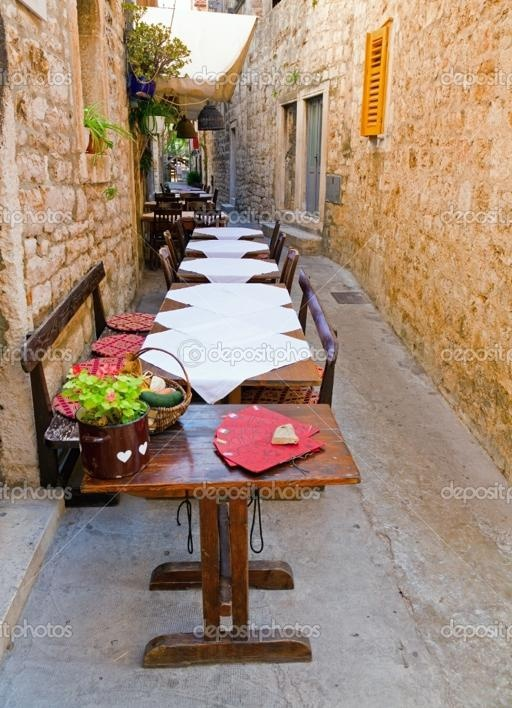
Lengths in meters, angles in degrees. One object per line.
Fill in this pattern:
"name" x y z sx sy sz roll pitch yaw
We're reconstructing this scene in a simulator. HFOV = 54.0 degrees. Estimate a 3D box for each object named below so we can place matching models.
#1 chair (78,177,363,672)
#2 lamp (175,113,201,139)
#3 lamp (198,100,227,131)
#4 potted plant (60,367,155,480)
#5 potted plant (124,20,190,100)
"chair" -0.066 0.441 1.389 0.640 0.572 0.664 -2 23 -4
"lamp" -1.217 -3.879 8.602 0.331 0.415 1.421 -1 19 -9
"lamp" -0.715 -3.697 7.817 0.350 0.408 0.508 0 19 -8
"potted plant" -0.301 0.135 1.028 0.155 0.226 0.118 -2 20 -13
"potted plant" -1.069 -3.131 5.451 0.475 0.755 0.803 5 19 6
